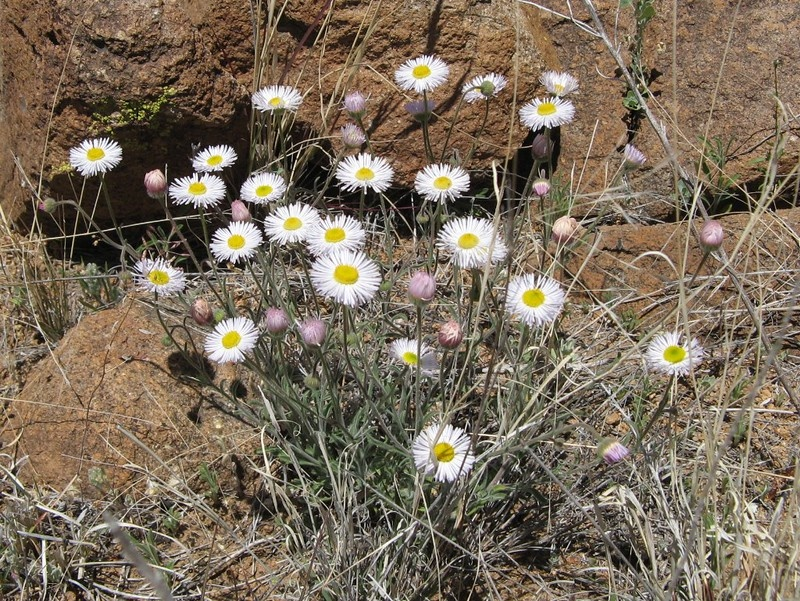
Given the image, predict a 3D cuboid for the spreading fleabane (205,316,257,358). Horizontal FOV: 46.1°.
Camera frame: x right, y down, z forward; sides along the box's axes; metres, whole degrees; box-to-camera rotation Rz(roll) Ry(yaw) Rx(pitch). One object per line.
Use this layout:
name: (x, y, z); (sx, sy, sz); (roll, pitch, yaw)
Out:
spreading fleabane: (-0.705, 0.174, 3.930); (0.224, 0.090, 0.228); (-10, 45, -6)

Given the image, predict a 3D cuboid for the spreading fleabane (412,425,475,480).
spreading fleabane: (0.170, 0.603, 3.786); (0.243, 0.102, 0.279); (-4, 38, -4)

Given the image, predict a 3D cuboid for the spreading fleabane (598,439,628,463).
spreading fleabane: (0.828, 0.593, 3.649); (0.099, 0.108, 0.052); (-35, 82, 9)

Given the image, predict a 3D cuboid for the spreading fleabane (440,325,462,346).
spreading fleabane: (0.202, 0.147, 3.714); (0.069, 0.092, 0.094); (-2, 83, 7)

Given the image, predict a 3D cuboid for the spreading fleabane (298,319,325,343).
spreading fleabane: (-0.355, 0.114, 3.759); (0.080, 0.105, 0.101); (-8, 41, -3)

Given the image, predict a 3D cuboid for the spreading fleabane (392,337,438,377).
spreading fleabane: (0.061, 0.238, 4.175); (0.172, 0.080, 0.172); (34, 40, 21)

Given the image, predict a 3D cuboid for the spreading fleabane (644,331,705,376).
spreading fleabane: (1.153, 0.245, 3.961); (0.250, 0.130, 0.292); (6, 17, 17)

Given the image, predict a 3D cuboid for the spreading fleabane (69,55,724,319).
spreading fleabane: (-0.156, -0.499, 4.529); (3.082, 1.166, 1.361); (3, 44, 7)
